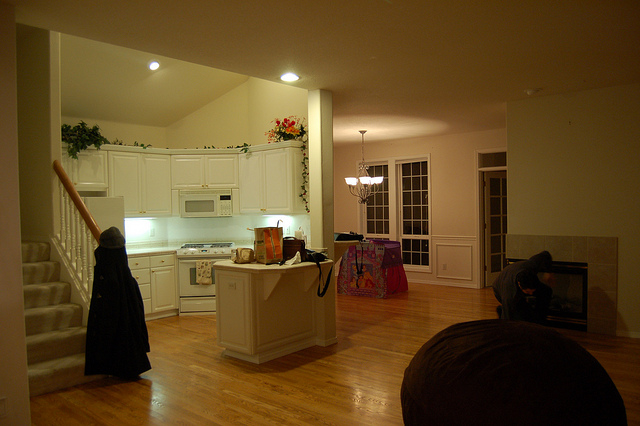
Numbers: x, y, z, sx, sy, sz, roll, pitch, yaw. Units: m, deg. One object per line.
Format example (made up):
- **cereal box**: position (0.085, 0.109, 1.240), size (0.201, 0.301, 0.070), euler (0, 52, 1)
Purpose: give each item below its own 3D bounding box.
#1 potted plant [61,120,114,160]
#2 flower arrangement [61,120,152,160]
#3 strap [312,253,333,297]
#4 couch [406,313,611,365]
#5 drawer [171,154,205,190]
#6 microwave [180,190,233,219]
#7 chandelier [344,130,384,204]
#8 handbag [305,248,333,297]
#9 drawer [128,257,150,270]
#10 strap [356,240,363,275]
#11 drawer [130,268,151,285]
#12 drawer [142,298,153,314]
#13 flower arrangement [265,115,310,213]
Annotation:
- **potted plant**: position (-3.593, -1.117, 6.910), size (0.802, 0.495, 0.698), euler (6, 6, 2)
- **flower arrangement**: position (-3.054, -1.023, 6.388), size (0.585, 0.460, 1.387), euler (7, 5, 40)
- **strap**: position (0.034, 0.798, 5.840), size (0.287, 0.507, 0.121), euler (0, -5, 0)
- **couch**: position (1.183, 0.898, 2.966), size (1.151, 0.322, 0.330), euler (1, 8, 12)
- **drawer**: position (-2.238, -0.687, 7.860), size (0.776, 0.743, 0.520), euler (0, -2, -7)
- **microwave**: position (-1.949, -0.155, 7.668), size (0.694, 0.369, 0.507), euler (-1, -1, 4)
- **chandelier**: position (0.903, -0.995, 9.827), size (0.878, 1.568, 0.721), euler (-1, 0, 39)
- **handbag**: position (-0.024, 0.757, 5.880), size (0.315, 0.585, 0.341), euler (7, 3, 5)
- **drawer**: position (-2.814, 0.775, 7.008), size (0.227, 0.208, 0.349), euler (-3, -2, 38)
- **strap**: position (0.748, 0.845, 8.635), size (0.121, 0.664, 0.087), euler (0, 8, 6)
- **drawer**: position (-2.782, 0.960, 7.052), size (0.312, 0.292, 0.204), euler (-1, 1, -43)
- **drawer**: position (-2.713, 1.457, 7.089), size (0.053, 0.253, 0.148), euler (5, 10, 38)
- **flower arrangement**: position (-0.405, -0.878, 7.238), size (0.442, 1.286, 0.567), euler (6, 29, 31)
